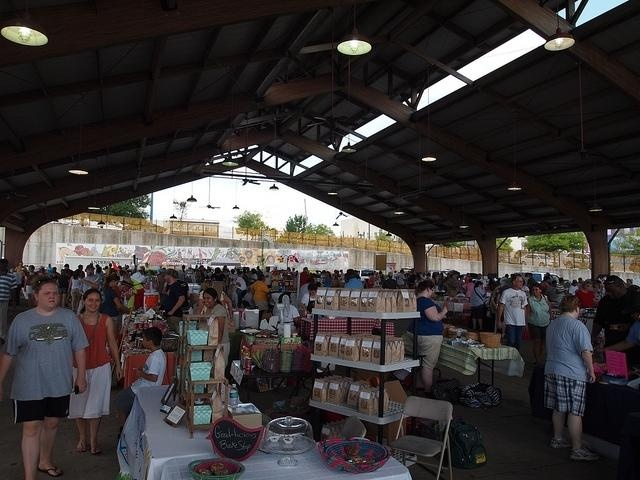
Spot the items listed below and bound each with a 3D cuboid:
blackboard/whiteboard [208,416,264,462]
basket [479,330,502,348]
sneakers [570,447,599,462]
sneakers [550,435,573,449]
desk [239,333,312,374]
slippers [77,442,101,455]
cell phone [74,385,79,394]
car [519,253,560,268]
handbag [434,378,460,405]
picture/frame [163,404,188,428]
[{"bbox_3d":[-0.684,1.608,4.204,0.292,0.225,0.030,15,-25,-7],"label":"blackboard/whiteboard"},{"bbox_3d":[2.445,1.442,7.624,0.190,0.133,0.249,3,-5,-12],"label":"basket"},{"bbox_3d":[2.982,2.437,5.984,0.341,0.163,0.123,0,-4,0],"label":"sneakers"},{"bbox_3d":[2.908,2.418,6.320,0.274,0.121,0.113,3,-4,-25],"label":"sneakers"},{"bbox_3d":[-0.615,1.631,7.740,0.952,0.406,1.299,1,0,-5],"label":"desk"},{"bbox_3d":[-2.626,2.386,5.996,0.306,0.085,0.170,0,-6,33],"label":"slippers"},{"bbox_3d":[-2.543,1.567,5.495,0.040,0.116,0.046,3,-8,1],"label":"cell phone"},{"bbox_3d":[14.109,1.491,33.634,2.525,0.883,1.164,-1,2,10],"label":"car"},{"bbox_3d":[1.904,2.254,7.863,0.400,0.171,0.397,-5,31,30],"label":"handbag"},{"bbox_3d":[-1.254,1.536,4.578,0.162,0.158,0.043,18,-14,39],"label":"picture/frame"}]
